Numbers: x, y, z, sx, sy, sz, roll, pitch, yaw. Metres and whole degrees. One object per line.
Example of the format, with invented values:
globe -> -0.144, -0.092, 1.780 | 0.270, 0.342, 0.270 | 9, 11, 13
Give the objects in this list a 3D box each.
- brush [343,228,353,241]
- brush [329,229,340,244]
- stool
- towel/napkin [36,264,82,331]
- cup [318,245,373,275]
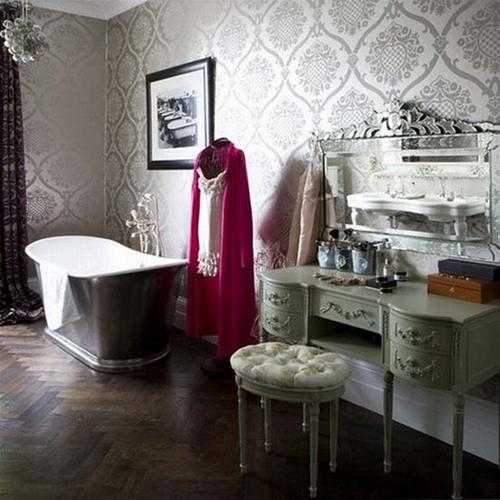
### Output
brush -> 0.521, -0.080, 2.303 | 0.045, 0.099, 0.050 | 0, 13, -5
brush -> 0.443, -0.075, 2.327 | 0.070, 0.069, 0.055 | 4, -5, -44
stool -> 0.161, 0.572, 1.805 | 0.550, 0.578, 0.444 | 4, 5, 39
towel/napkin -> -1.338, 0.334, 3.058 | 0.081, 0.660, 0.442 | -15, 17, -40
cup -> 0.483, 0.042, 2.185 | 0.207, 0.090, 0.135 | 1, 2, 42
